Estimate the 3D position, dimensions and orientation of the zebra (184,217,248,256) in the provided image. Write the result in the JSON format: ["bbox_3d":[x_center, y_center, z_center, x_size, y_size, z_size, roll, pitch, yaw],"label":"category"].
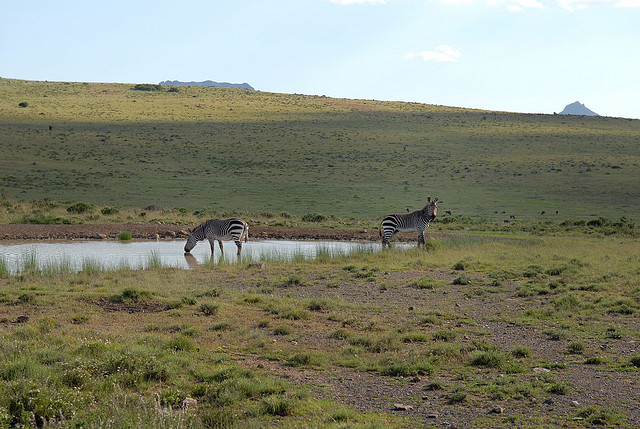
[{"bbox_3d":[-5.216,1.228,40.863,3.579,1.806,0.949,-4,-6,18],"label":"zebra"}]

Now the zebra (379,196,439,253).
[{"bbox_3d":[4.494,0.388,41.210,2.946,2.594,2.538,5,9,25],"label":"zebra"}]
